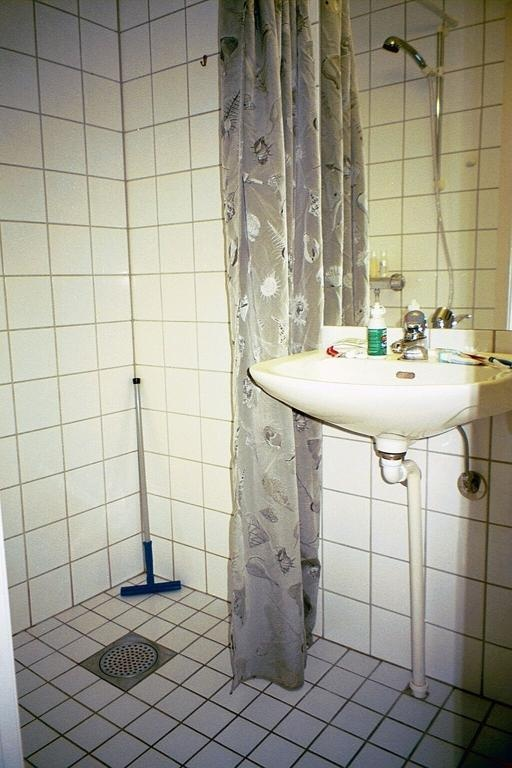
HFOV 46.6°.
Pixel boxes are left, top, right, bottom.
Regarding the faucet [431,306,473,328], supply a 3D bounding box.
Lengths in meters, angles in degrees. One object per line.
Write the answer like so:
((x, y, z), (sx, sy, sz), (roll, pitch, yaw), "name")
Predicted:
((0.472, -0.168, 1.450), (0.072, 0.053, 0.043), (11, 20, 31), "faucet")

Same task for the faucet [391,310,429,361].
((0.367, -0.122, 1.418), (0.073, 0.132, 0.087), (4, -2, -24), "faucet")
